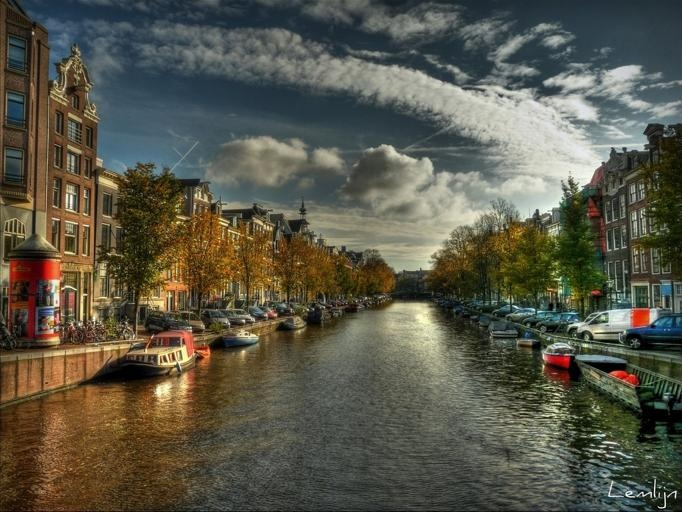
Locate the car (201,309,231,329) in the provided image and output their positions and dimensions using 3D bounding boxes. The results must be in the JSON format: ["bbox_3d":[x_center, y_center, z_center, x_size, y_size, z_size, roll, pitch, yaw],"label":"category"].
[{"bbox_3d":[-11.591,5.579,56.629,1.446,1.278,2.563,6,-11,-44],"label":"car"}]

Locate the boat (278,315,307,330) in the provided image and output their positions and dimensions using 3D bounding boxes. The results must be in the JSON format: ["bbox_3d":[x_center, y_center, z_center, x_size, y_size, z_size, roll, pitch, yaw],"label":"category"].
[{"bbox_3d":[-5.268,7.669,70.978,1.080,0.912,3.349,1,-1,26],"label":"boat"}]

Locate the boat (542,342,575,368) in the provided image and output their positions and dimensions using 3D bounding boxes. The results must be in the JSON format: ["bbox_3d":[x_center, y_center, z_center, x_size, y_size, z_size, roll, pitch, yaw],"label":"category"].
[{"bbox_3d":[14.396,6.621,40.340,1.039,1.687,3.001,0,5,-5],"label":"boat"}]

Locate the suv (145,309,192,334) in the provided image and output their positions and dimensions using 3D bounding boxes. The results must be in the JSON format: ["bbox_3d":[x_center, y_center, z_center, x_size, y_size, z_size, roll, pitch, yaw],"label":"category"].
[{"bbox_3d":[-13.949,5.184,49.452,4.529,1.812,2.095,-4,-6,30],"label":"suv"}]

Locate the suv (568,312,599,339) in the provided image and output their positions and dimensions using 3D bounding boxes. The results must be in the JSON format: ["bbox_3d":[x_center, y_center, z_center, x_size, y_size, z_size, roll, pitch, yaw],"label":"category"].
[{"bbox_3d":[17.915,5.313,46.912,3.097,1.598,1.760,-2,-7,28],"label":"suv"}]

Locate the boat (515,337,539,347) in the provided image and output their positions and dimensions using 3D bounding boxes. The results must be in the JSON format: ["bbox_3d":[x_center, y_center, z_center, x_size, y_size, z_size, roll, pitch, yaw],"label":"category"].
[{"bbox_3d":[16.023,7.294,52.390,1.800,0.714,1.580,1,5,6],"label":"boat"}]

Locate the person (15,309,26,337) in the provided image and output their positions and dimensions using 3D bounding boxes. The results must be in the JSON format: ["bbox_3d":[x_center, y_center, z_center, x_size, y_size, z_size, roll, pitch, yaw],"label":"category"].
[{"bbox_3d":[-18.153,3.718,34.907,0.591,1.417,0.323,0,7,-1],"label":"person"}]

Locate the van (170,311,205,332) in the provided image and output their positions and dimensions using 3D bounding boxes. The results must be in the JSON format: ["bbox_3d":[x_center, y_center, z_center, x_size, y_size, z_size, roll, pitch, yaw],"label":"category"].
[{"bbox_3d":[-12.687,5.463,51.892,1.687,1.235,3.561,6,-8,-40],"label":"van"}]

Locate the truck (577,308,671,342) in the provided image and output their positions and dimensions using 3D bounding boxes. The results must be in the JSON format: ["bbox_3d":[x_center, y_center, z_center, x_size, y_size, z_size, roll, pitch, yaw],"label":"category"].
[{"bbox_3d":[19.128,4.689,42.419,2.473,1.972,4.636,4,-6,-43],"label":"truck"}]
